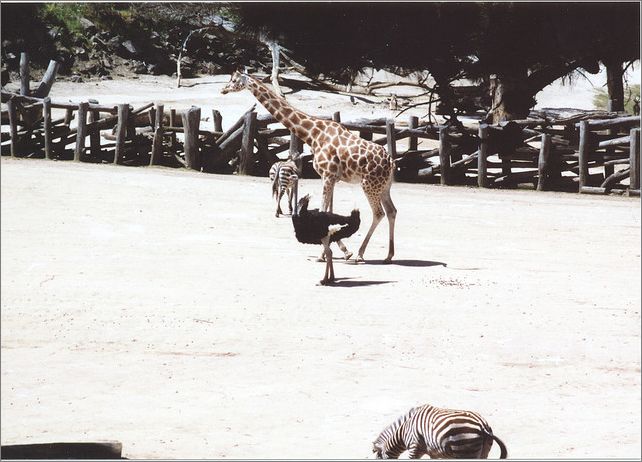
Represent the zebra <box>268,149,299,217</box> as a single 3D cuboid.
[{"bbox_3d":[-1.111,-1.719,47.182,0.937,1.910,2.869,4,13,15],"label":"zebra"}]
